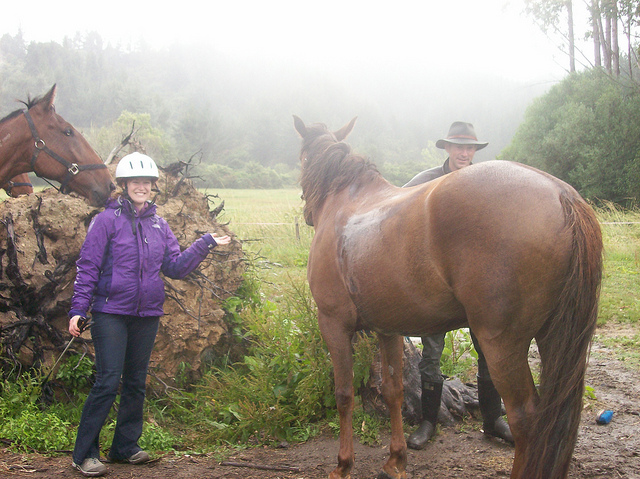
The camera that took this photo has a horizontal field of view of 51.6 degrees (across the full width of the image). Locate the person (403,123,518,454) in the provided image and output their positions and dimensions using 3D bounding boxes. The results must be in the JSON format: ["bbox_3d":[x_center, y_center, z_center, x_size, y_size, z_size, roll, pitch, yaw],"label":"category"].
[{"bbox_3d":[1.494,0.607,7.329,1.229,3.715,1.116,-2,10,12],"label":"person"}]

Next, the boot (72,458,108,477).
[{"bbox_3d":[-2.421,2.415,7.050,0.387,0.193,0.154,-1,-7,13],"label":"boot"}]

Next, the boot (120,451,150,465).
[{"bbox_3d":[-2.076,2.434,7.412,0.296,0.146,0.126,-4,-2,1],"label":"boot"}]
